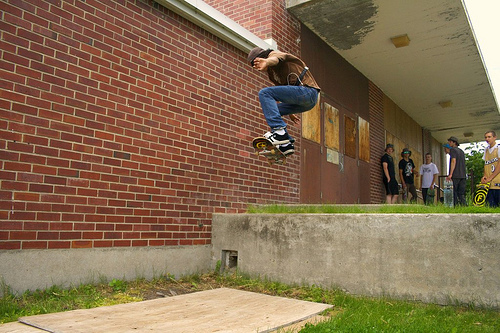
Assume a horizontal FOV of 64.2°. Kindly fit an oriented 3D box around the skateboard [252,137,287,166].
[{"bbox_3d":[0.365,-0.327,6.922,0.287,0.298,0.833,-27,-37,21],"label":"skateboard"}]

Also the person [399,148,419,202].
[{"bbox_3d":[5.692,0.103,14.460,0.492,2.086,0.800,-6,-12,23],"label":"person"}]

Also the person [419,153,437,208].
[{"bbox_3d":[5.836,0.190,13.008,0.493,1.801,1.411,-5,-12,23],"label":"person"}]

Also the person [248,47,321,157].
[{"bbox_3d":[0.526,-1.256,6.864,1.242,1.927,0.648,6,-12,-30],"label":"person"}]

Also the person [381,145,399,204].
[{"bbox_3d":[5.090,0.114,14.507,0.536,2.372,1.267,-4,-11,18],"label":"person"}]
